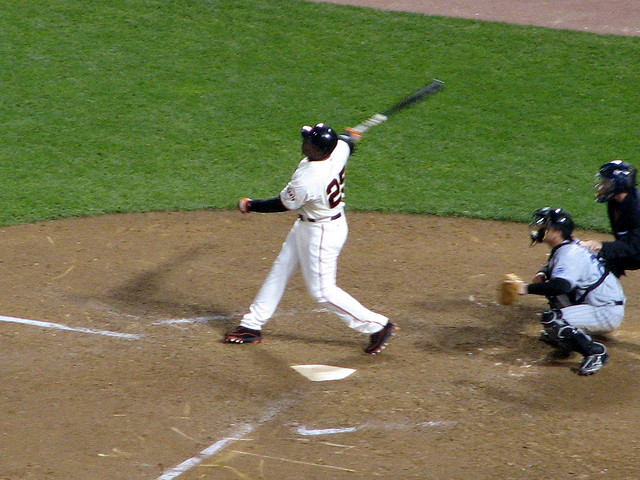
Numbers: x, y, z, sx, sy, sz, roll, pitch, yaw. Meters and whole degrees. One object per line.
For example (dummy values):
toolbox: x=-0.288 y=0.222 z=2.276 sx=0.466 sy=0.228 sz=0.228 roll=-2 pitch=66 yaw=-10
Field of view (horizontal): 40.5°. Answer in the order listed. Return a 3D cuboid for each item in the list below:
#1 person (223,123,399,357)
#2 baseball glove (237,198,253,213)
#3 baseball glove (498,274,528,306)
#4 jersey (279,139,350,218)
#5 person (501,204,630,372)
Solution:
person: x=-0.002 y=-0.024 z=7.772 sx=1.441 sy=2.093 sz=1.031 roll=8 pitch=20 yaw=-11
baseball glove: x=-0.656 y=-0.304 z=7.775 sx=0.096 sy=0.132 sz=0.119 roll=10 pitch=17 yaw=-5
baseball glove: x=1.624 y=0.438 z=7.418 sx=0.163 sy=0.251 sz=0.187 roll=6 pitch=18 yaw=-16
jersey: x=0.021 y=-0.540 z=7.625 sx=0.531 sy=0.695 sz=0.522 roll=14 pitch=18 yaw=9
person: x=2.121 y=0.421 z=7.495 sx=1.079 sy=1.357 sz=0.711 roll=14 pitch=20 yaw=8
